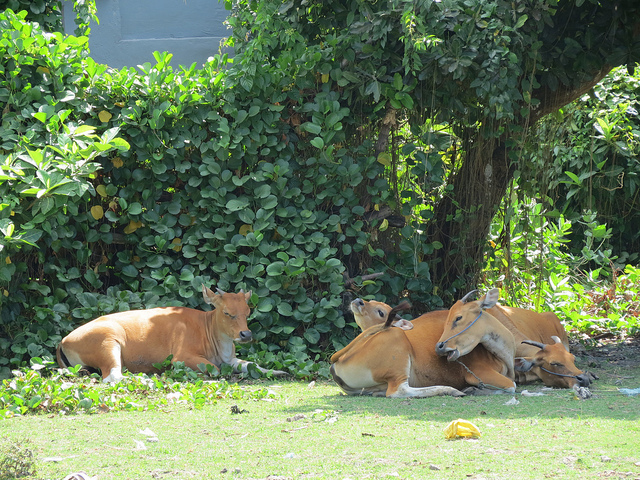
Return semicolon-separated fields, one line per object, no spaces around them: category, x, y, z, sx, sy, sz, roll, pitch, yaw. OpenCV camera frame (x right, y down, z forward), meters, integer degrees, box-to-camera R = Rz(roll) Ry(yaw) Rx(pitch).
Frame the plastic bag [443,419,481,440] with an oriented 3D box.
plastic bag;1.040;1.383;6.306;0.174;0.152;0.098;8;-44;0

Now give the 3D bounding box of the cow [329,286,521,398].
cow;0.906;0.873;7.695;1.368;0.801;0.910;-3;-6;-7

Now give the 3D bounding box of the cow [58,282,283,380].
cow;-1.552;0.929;8.267;1.512;0.768;1.045;3;-7;-11

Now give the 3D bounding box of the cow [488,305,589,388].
cow;2.026;0.968;7.906;0.492;0.376;0.966;9;15;-13
